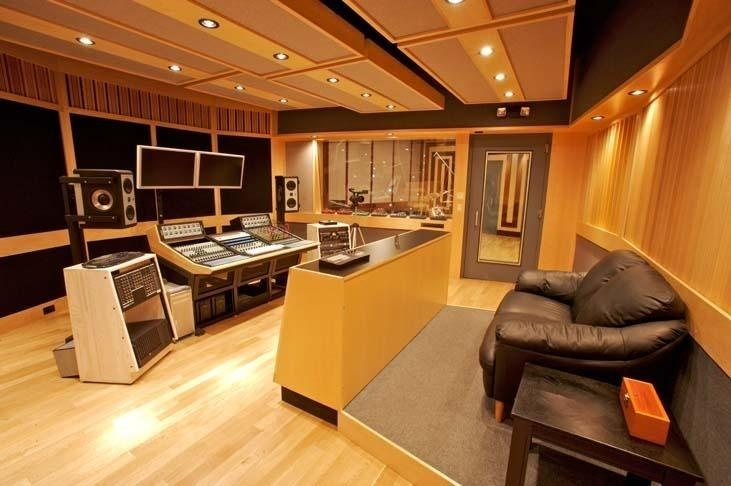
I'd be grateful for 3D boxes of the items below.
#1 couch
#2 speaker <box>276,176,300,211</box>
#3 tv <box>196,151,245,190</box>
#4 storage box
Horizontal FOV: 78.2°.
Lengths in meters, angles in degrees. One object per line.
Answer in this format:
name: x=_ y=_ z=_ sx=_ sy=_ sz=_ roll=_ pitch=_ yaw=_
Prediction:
couch: x=2.195 y=0.833 z=4.886 sx=1.579 sy=1.302 sz=2.627 roll=4 pitch=10 yaw=21
speaker: x=-1.303 y=-0.823 z=7.581 sx=0.380 sy=0.586 sz=0.176 roll=-5 pitch=13 yaw=-22
tv: x=-2.013 y=-0.995 z=6.254 sx=0.280 sy=0.505 sz=0.813 roll=5 pitch=13 yaw=26
storage box: x=2.109 y=1.252 z=3.363 sx=0.336 sy=0.355 sz=0.330 roll=4 pitch=12 yaw=20
